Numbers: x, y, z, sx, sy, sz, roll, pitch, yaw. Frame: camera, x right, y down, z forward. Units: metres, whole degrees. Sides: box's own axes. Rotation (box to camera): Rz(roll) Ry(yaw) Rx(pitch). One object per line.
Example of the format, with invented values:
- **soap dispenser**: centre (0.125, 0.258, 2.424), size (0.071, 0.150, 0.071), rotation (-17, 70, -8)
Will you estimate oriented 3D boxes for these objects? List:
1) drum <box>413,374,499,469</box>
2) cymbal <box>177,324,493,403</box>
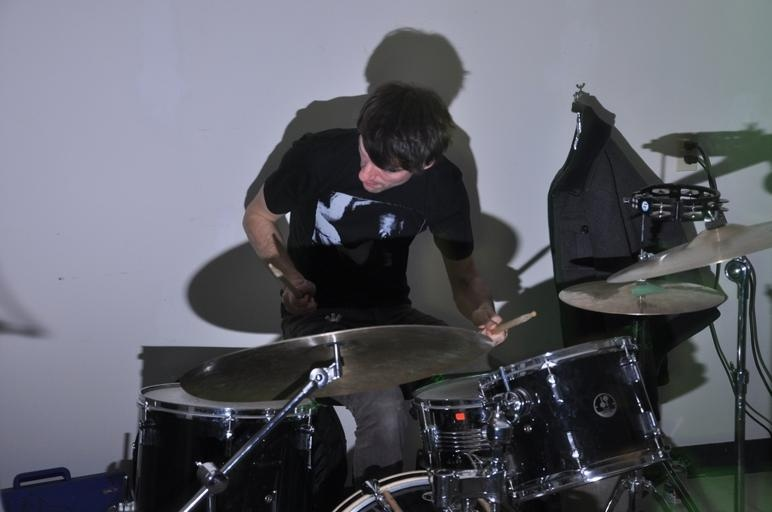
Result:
- **drum**: centre (0.244, 0.627, 2.668), size (0.334, 0.330, 0.315), rotation (-5, -5, -13)
- **cymbal**: centre (-0.177, 0.366, 2.329), size (0.555, 0.080, 0.546), rotation (-16, -20, 16)
